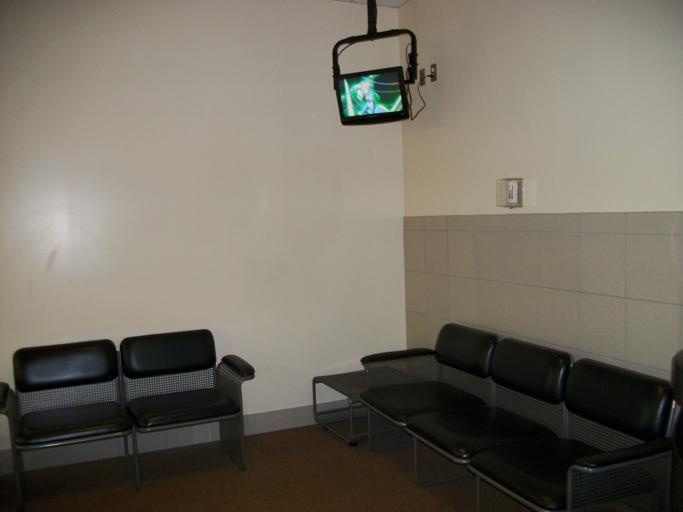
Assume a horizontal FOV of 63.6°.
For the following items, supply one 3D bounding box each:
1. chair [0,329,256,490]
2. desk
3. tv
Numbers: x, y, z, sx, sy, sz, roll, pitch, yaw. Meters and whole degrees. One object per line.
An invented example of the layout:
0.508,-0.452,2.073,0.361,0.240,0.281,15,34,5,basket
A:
-1.621,1.187,4.259,1.687,1.003,0.994,-6,10,-32,chair
0.021,1.333,4.954,0.494,0.541,0.803,-3,8,-11,desk
0.245,-1.235,4.253,0.575,0.506,0.310,-5,22,20,tv
